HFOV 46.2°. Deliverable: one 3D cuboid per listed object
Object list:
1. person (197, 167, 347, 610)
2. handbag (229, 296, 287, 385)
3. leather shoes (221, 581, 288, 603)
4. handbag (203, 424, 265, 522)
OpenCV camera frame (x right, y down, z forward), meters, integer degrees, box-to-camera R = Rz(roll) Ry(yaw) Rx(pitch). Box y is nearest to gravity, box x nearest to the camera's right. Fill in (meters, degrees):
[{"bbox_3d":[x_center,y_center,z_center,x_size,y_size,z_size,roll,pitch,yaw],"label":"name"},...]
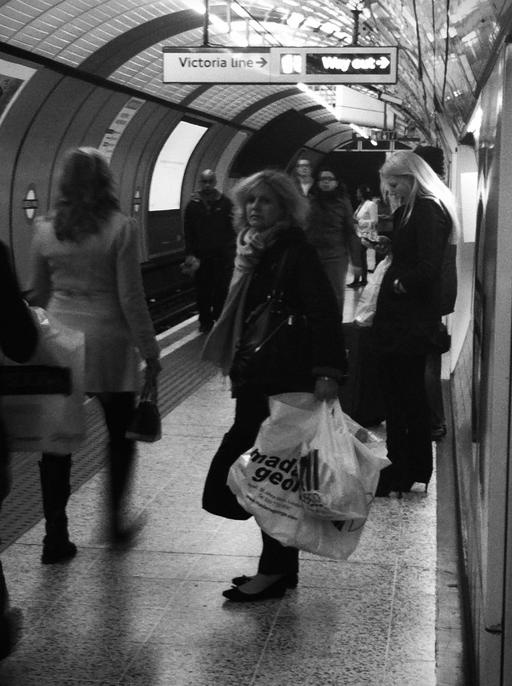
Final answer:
[{"bbox_3d":[0.053,0.017,2.270,0.323,1.363,0.585,0,1,-41],"label":"person"},{"bbox_3d":[-0.006,-0.018,2.226,0.077,0.331,0.184,31,2,-8],"label":"handbag"},{"bbox_3d":[-0.002,0.915,2.261,0.235,0.068,0.086,3,-3,-11],"label":"leather shoes"},{"bbox_3d":[-0.102,0.488,2.357,0.208,0.353,0.125,12,11,-4],"label":"handbag"}]
